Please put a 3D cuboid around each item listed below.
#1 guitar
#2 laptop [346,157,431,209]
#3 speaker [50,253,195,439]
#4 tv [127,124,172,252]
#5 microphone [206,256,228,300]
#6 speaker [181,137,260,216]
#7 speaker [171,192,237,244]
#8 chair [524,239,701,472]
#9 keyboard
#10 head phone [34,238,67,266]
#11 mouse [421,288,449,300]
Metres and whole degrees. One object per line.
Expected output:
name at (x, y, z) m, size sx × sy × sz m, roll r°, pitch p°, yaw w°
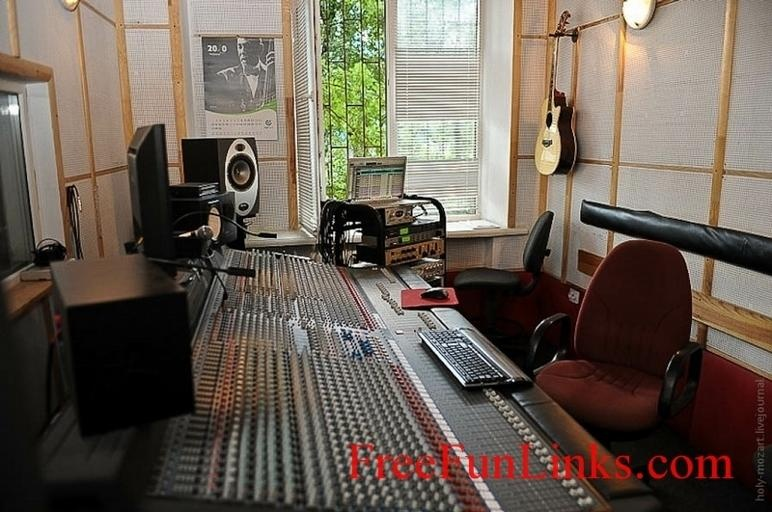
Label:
guitar at (1.469, -1.340, 4.274) m, size 0.269 × 1.361 × 0.483 m, roll -2°, pitch 16°, yaw -5°
laptop at (-0.071, -0.544, 3.649) m, size 0.512 × 0.348 × 0.077 m, roll -10°, pitch 19°, yaw -35°
speaker at (-0.740, 0.200, 1.368) m, size 0.270 × 0.317 × 0.495 m, roll -8°, pitch 16°, yaw -38°
tv at (-0.865, -0.240, 1.841) m, size 0.132 × 0.470 × 0.350 m, roll -8°, pitch 18°, yaw -26°
microphone at (-0.726, 0.098, 2.144) m, size 0.045 × 0.168 × 0.171 m, roll -12°, pitch 39°, yaw 3°
speaker at (-1.275, -0.650, 3.982) m, size 0.412 × 0.583 × 0.452 m, roll 11°, pitch 16°, yaw 36°
speaker at (-0.925, -0.170, 2.490) m, size 0.212 × 0.255 × 0.380 m, roll -1°, pitch 9°, yaw 9°
chair at (1.150, 0.616, 2.558) m, size 0.761 × 1.253 × 0.774 m, roll 2°, pitch 10°, yaw 22°
keyboard at (0.296, 0.353, 1.862) m, size 0.274 × 0.050 × 0.482 m, roll -4°, pitch 17°, yaw -14°
head phone at (-1.670, -0.020, 2.484) m, size 0.110 × 0.123 × 0.142 m, roll -6°, pitch -11°, yaw -31°
mouse at (0.241, 0.177, 2.460) m, size 0.101 × 0.033 × 0.063 m, roll 3°, pitch 3°, yaw 15°
